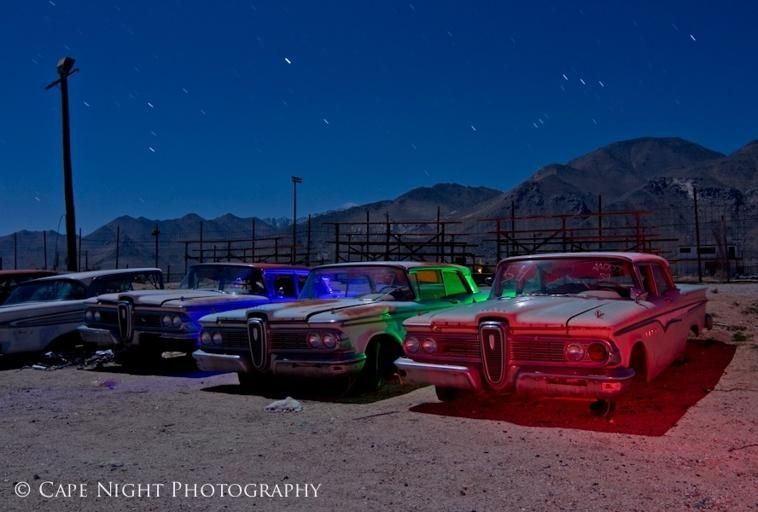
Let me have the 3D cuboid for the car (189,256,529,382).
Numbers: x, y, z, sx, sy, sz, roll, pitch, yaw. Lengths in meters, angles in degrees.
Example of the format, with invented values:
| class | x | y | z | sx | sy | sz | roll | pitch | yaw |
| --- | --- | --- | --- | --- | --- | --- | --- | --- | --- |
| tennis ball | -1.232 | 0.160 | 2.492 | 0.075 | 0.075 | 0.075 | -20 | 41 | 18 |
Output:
| class | x | y | z | sx | sy | sz | roll | pitch | yaw |
| --- | --- | --- | --- | --- | --- | --- | --- | --- | --- |
| car | -0.193 | 0.775 | 7.923 | 2.418 | 0.922 | 3.920 | -4 | -4 | 34 |

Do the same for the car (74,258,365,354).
| class | x | y | z | sx | sy | sz | roll | pitch | yaw |
| --- | --- | --- | --- | --- | --- | --- | --- | --- | --- |
| car | -2.661 | 0.755 | 9.548 | 2.192 | 0.802 | 3.588 | -1 | 0 | 40 |

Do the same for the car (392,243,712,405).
| class | x | y | z | sx | sy | sz | roll | pitch | yaw |
| --- | --- | --- | --- | --- | --- | --- | --- | --- | --- |
| car | 2.241 | 0.774 | 6.580 | 2.453 | 1.620 | 2.841 | 0 | 2 | 39 |
